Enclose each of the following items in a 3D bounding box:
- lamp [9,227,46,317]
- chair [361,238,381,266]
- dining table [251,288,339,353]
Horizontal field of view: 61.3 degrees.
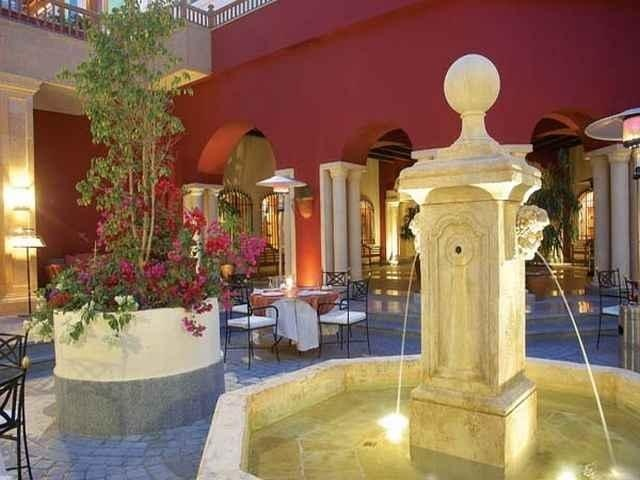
[{"bbox_3d":[-4.822,0.537,8.965,0.528,1.365,1.727,-7,9,-30],"label":"lamp"},{"bbox_3d":[1.892,0.433,20.252,0.789,1.331,0.960,-1,0,24],"label":"chair"},{"bbox_3d":[-0.308,1.010,6.856,1.059,0.650,0.511,-2,8,5],"label":"dining table"}]
